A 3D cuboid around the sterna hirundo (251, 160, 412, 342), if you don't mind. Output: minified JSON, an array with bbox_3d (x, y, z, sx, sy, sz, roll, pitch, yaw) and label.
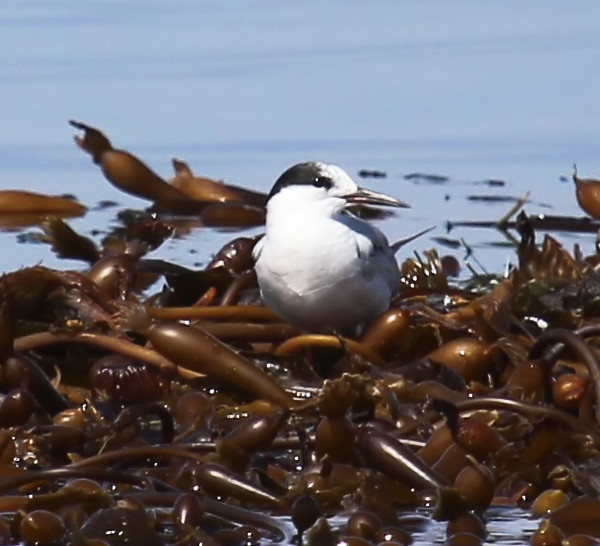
[{"bbox_3d":[0.064,-0.070,2.782,0.375,0.449,0.396,0,-4,12],"label":"sterna hirundo"}]
